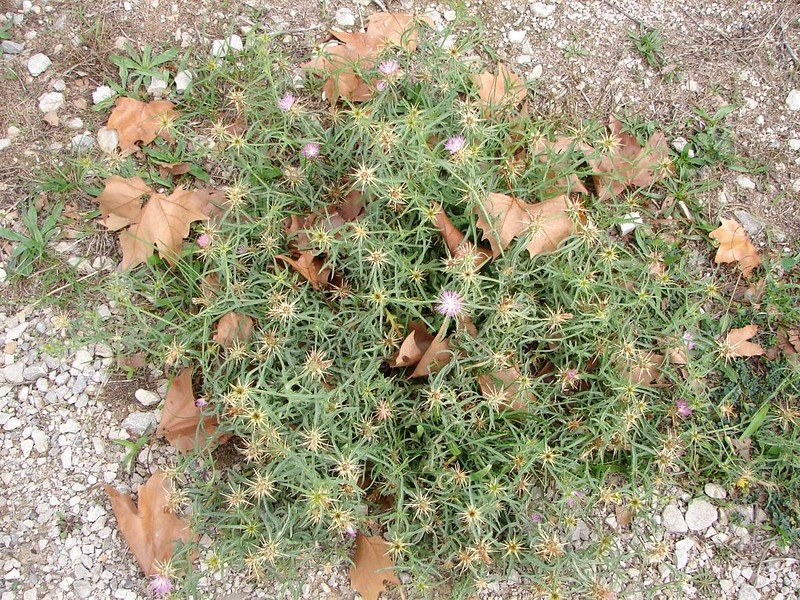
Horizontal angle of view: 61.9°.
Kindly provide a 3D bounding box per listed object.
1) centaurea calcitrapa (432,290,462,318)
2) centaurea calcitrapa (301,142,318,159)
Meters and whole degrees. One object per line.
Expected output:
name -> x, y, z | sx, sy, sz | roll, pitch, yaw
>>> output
centaurea calcitrapa -> 0.199, 0.017, 2.672 | 0.102, 0.193, 0.111 | -18, 84, -5
centaurea calcitrapa -> -0.378, -0.639, 2.849 | 0.075, 0.037, 0.069 | 8, 82, -3
